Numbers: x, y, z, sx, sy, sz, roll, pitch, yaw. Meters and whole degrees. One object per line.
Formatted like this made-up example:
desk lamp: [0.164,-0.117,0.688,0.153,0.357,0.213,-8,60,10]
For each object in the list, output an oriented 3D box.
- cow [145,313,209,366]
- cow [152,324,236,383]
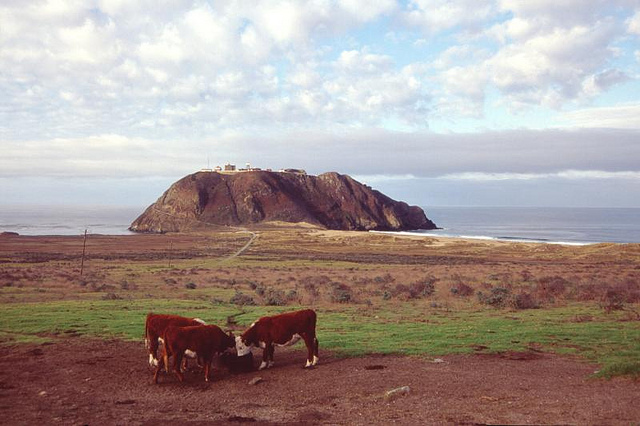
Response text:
cow: [-6.095,5.806,21.709,4.642,2.284,1.229,-7,-8,23]
cow: [-5.390,6.271,21.558,4.283,2.278,1.197,10,-21,-41]
